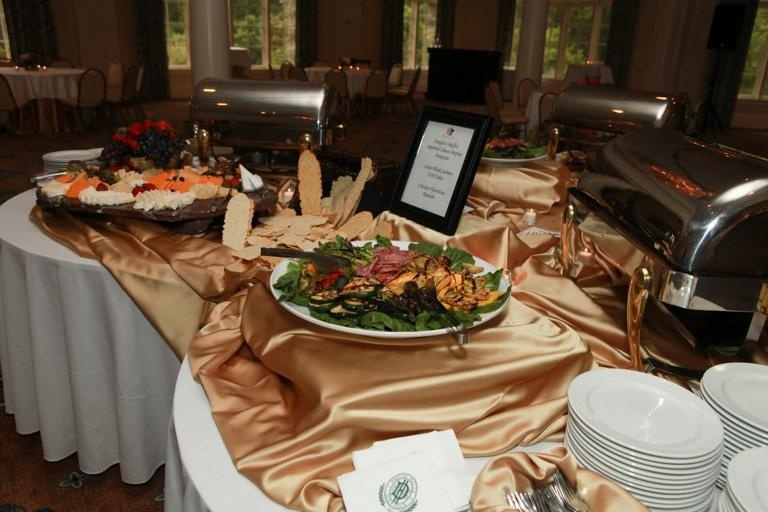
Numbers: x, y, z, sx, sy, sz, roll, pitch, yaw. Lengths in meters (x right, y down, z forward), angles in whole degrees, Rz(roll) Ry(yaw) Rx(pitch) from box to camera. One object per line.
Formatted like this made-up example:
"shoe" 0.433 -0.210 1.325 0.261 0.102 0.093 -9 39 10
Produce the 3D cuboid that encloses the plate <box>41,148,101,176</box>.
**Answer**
"plate" -1.138 -0.353 1.901 0.274 0.102 0.268 -8 12 -35
